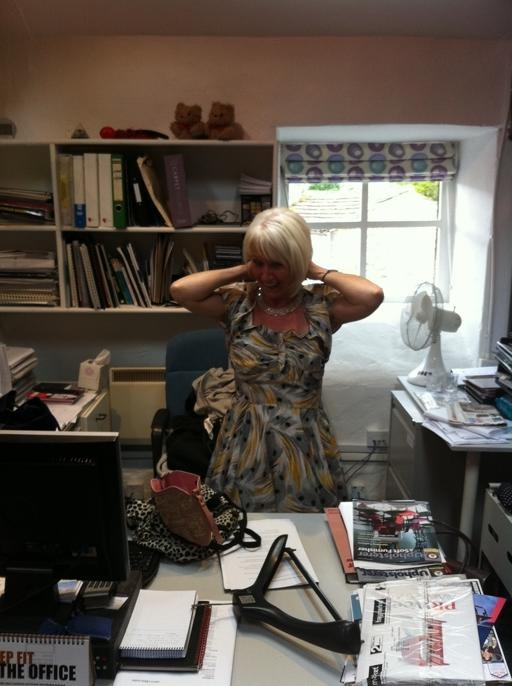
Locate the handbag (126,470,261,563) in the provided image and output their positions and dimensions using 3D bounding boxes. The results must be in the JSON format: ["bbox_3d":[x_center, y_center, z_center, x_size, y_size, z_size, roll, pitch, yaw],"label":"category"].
[{"bbox_3d":[-0.155,0.396,1.250,0.285,0.106,0.210,14,13,32],"label":"handbag"}]

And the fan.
[{"bbox_3d":[0.718,-0.034,2.476,0.187,0.474,0.318,2,14,-10],"label":"fan"}]

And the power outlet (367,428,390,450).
[{"bbox_3d":[0.729,0.580,3.226,0.133,0.120,0.124,-1,25,1],"label":"power outlet"}]

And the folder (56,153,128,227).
[{"bbox_3d":[-0.794,-0.751,2.633,0.300,0.390,0.081,-1,19,-22],"label":"folder"}]

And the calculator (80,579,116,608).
[{"bbox_3d":[-0.313,0.481,1.024,0.039,0.016,0.051,3,13,-4],"label":"calculator"}]

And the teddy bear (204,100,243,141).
[{"bbox_3d":[-0.154,-1.070,2.573,0.188,0.180,0.127,-3,17,-1],"label":"teddy bear"}]

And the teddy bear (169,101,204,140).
[{"bbox_3d":[-0.339,-1.091,2.618,0.186,0.175,0.114,-1,17,6],"label":"teddy bear"}]

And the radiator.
[{"bbox_3d":[-0.630,0.318,2.827,0.484,0.445,0.236,-1,18,-1],"label":"radiator"}]

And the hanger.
[{"bbox_3d":[0.075,0.481,1.019,0.242,0.077,0.171,0,13,-12],"label":"hanger"}]
